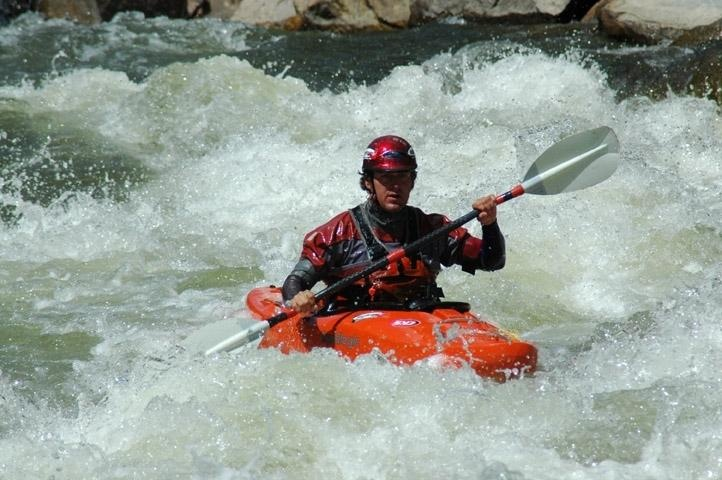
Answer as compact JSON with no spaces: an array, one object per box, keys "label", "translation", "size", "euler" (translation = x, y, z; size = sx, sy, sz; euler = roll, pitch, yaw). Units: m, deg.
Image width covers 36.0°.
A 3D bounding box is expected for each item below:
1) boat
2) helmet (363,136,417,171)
[{"label":"boat","translation":[0.321,0.845,9.757],"size":[1.908,0.937,0.467],"euler":[1,94,30]},{"label":"helmet","translation":[0.256,-0.796,10.042],"size":[0.461,0.583,0.282],"euler":[-3,105,-11]}]
